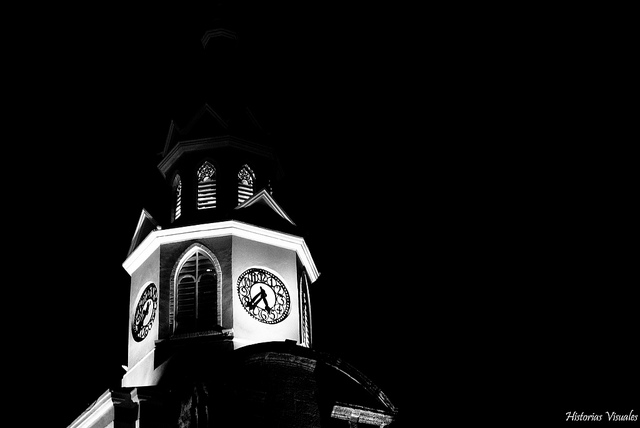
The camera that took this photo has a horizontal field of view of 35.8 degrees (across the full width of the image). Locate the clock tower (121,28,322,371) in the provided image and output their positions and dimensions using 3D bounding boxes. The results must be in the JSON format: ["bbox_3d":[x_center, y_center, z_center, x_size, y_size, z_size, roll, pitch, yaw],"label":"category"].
[{"bbox_3d":[-4.820,-1.526,47.707,7.956,16.689,4.552,1,-39,-5],"label":"clock tower"}]
